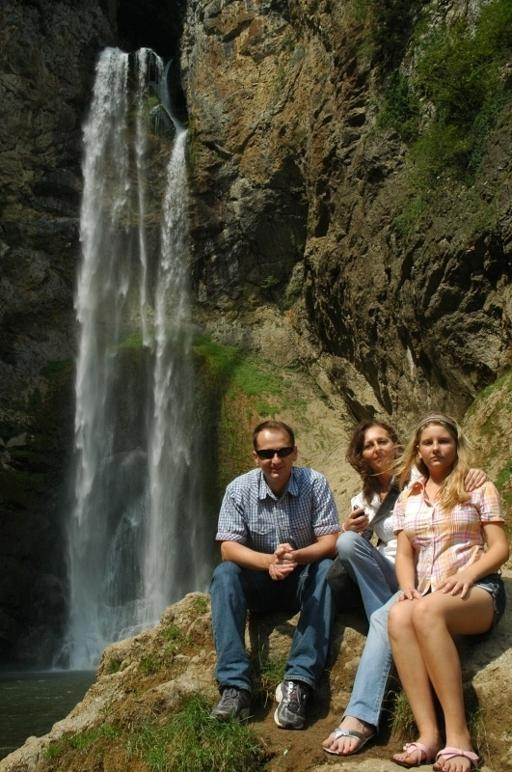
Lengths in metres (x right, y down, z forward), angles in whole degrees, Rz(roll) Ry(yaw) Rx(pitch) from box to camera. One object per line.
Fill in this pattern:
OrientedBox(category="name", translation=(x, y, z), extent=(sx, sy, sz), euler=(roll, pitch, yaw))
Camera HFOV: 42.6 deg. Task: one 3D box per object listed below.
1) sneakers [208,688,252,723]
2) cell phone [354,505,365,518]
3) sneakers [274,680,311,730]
OrientedBox(category="sneakers", translation=(-0.112, 1.555, 3.194), extent=(0.145, 0.173, 0.232), euler=(-10, -10, 21))
OrientedBox(category="cell phone", translation=(0.585, 0.705, 3.717), extent=(0.037, 0.072, 0.033), euler=(11, 2, 39))
OrientedBox(category="sneakers", translation=(0.165, 1.539, 3.166), extent=(0.158, 0.209, 0.149), euler=(-10, -10, 19))
